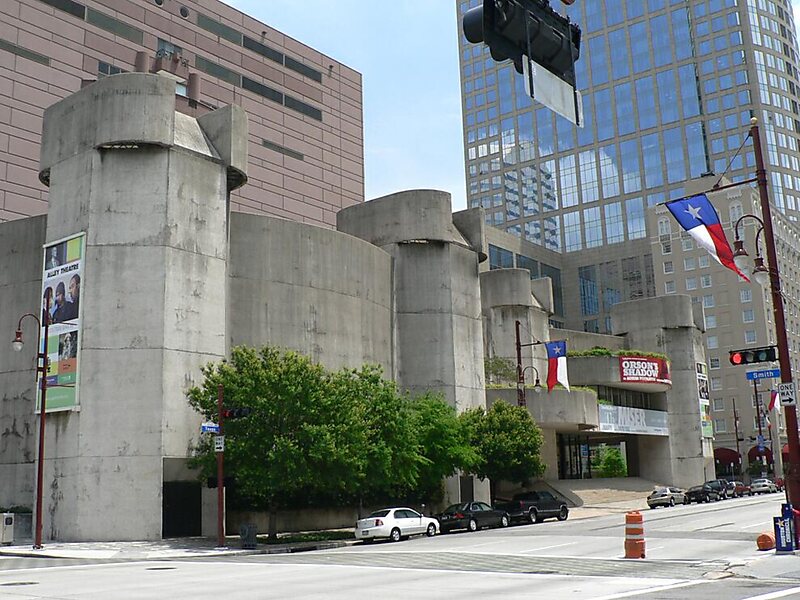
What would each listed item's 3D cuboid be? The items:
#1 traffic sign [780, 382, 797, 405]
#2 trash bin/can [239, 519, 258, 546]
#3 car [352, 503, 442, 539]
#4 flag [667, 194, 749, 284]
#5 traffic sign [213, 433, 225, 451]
[{"bbox_3d":[13.403,3.316,31.360,0.496,0.804,0.444,-5,-14,9],"label":"traffic sign"},{"bbox_3d":[-6.914,10.989,41.886,0.872,1.173,0.956,-7,-16,16],"label":"trash bin/can"},{"bbox_3d":[-0.200,11.223,45.252,1.685,1.267,4.036,-4,-4,40],"label":"car"},{"bbox_3d":[11.129,-2.522,32.681,2.597,2.808,0.109,0,-18,-20],"label":"flag"},{"bbox_3d":[-8.459,6.759,42.595,0.376,0.860,0.607,-2,-14,-3],"label":"traffic sign"}]
